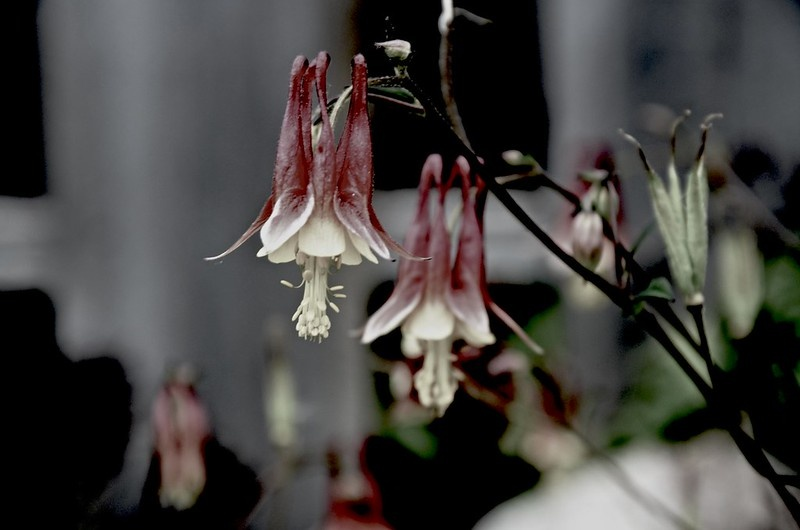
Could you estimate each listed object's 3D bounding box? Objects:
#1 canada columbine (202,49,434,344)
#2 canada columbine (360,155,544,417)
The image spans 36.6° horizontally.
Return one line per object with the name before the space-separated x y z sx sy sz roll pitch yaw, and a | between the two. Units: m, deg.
canada columbine | -0.090 -0.069 1.915 0.281 0.514 0.241 0 18 10
canada columbine | 0.070 0.034 1.949 0.257 0.434 0.260 7 2 -2
